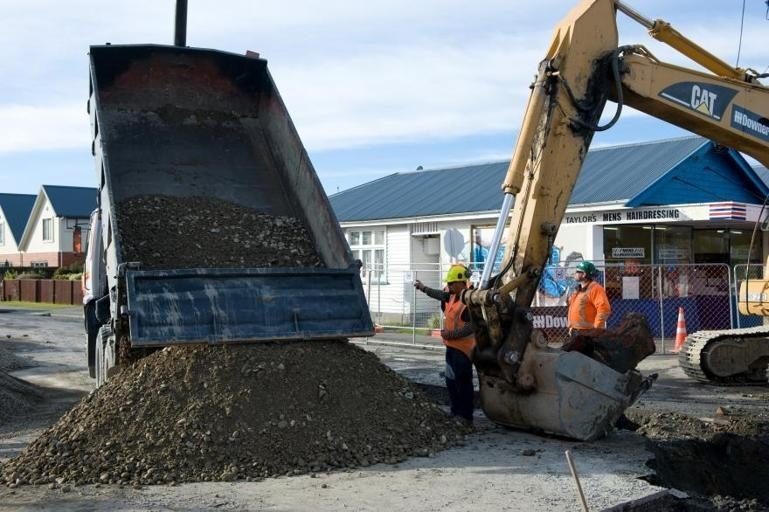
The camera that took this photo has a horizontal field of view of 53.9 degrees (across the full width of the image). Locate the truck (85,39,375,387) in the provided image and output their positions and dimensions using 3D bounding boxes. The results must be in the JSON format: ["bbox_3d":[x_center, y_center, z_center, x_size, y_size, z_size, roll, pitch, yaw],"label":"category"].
[{"bbox_3d":[-2.430,-0.729,10.786,2.941,5.191,4.112,-1,3,-27],"label":"truck"}]

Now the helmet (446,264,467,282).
[{"bbox_3d":[0.999,0.251,10.392,0.267,0.173,0.200,3,-1,-23],"label":"helmet"}]
